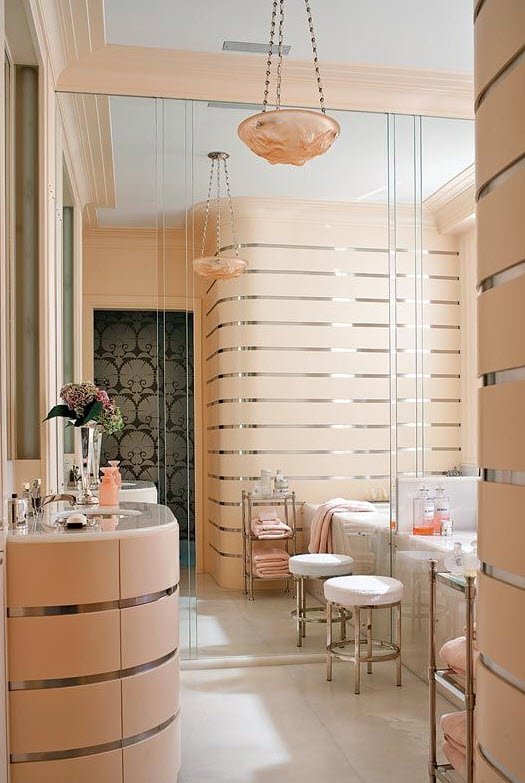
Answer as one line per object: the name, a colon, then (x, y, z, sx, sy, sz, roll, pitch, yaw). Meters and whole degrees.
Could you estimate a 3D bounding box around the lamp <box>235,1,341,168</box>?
lamp: (0.100, -1.258, 2.832, 0.377, 0.728, 0.968, 0, -5, 1)

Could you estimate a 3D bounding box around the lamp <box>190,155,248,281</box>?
lamp: (-0.240, -0.940, 3.883, 0.272, 0.694, 0.737, 0, -5, -2)

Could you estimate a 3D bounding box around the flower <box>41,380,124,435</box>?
flower: (-0.708, 0.062, 2.682, 0.228, 0.201, 0.291, 0, -5, -3)

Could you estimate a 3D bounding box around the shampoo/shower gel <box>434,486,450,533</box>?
shampoo/shower gel: (0.912, 0.607, 3.364, 0.079, 0.236, 0.205, -1, -5, 14)

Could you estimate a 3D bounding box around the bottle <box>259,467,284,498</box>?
bottle: (0.074, 0.563, 4.107, 0.140, 0.181, 0.183, -1, -11, 15)

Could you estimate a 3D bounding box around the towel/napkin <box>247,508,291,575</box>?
towel/napkin: (0.049, 0.911, 3.961, 0.262, 0.379, 0.225, 0, -5, -2)

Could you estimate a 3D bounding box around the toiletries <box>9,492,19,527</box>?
toiletries: (-0.731, 0.354, 1.944, 0.025, 0.077, 0.062, 2, -5, -21)
